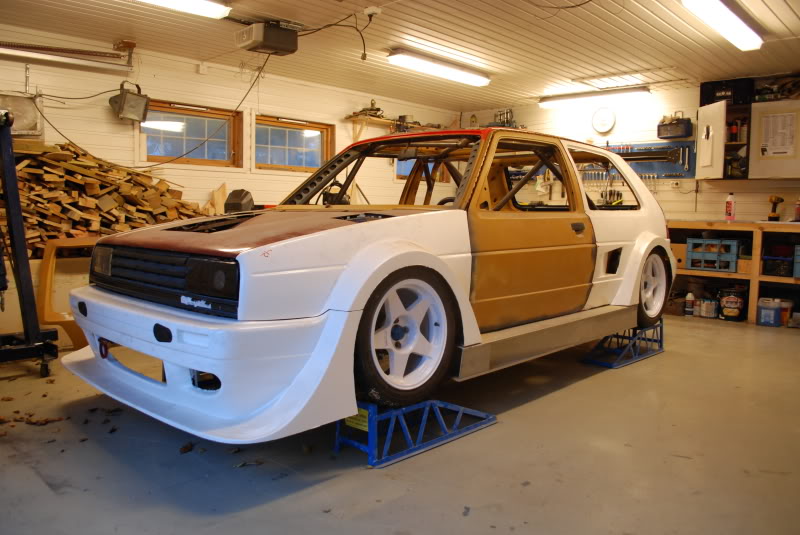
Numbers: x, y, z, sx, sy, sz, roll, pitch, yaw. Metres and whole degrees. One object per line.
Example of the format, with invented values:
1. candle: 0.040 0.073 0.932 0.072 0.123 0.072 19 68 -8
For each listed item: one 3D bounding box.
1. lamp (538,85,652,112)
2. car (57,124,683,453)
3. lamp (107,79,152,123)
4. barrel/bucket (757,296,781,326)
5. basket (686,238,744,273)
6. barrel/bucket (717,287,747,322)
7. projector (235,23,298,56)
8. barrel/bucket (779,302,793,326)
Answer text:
1. lamp: 4.069 -3.472 10.057 2.420 0.391 0.347 5 -15 42
2. car: 0.286 -0.216 4.362 5.423 1.886 2.067 -7 13 -37
3. lamp: -4.214 -2.569 7.586 0.427 0.544 0.448 15 8 16
4. barrel/bucket: 5.262 0.641 6.997 0.285 0.342 0.259 0 10 0
5. basket: 4.859 -0.200 7.625 0.643 0.404 0.372 -1 3 29
6. barrel/bucket: 5.063 0.572 7.411 0.341 0.508 0.393 20 -15 -35
7. projector: -1.785 -3.092 6.736 0.473 0.229 0.492 1 1 -29
8. barrel/bucket: 5.444 0.648 6.927 0.142 0.327 0.147 0 11 0
